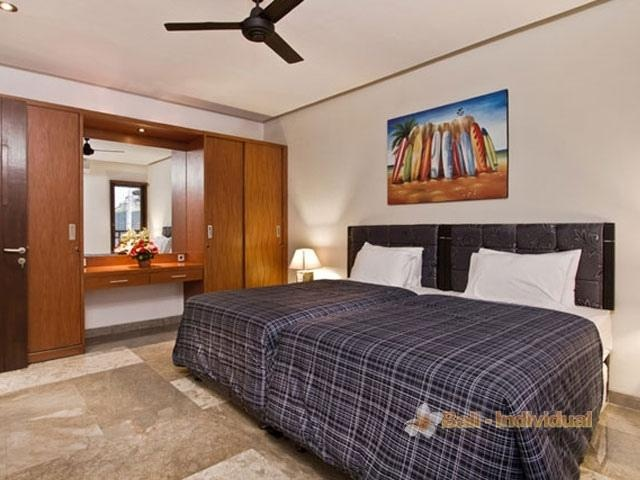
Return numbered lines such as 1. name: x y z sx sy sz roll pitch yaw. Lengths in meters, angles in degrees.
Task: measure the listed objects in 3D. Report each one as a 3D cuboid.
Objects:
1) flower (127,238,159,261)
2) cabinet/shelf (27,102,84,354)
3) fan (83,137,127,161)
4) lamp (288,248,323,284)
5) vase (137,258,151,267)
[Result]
1. flower: -2.103 0.122 5.201 0.262 0.237 0.271 0 -13 1
2. cabinet/shelf: -2.798 -0.078 4.532 0.200 2.640 0.754 3 3 13
3. fan: -2.593 -1.096 5.286 0.448 0.234 0.040 -2 4 -44
4. lamp: -0.152 0.302 5.588 0.393 0.451 0.400 4 5 38
5. vase: -2.094 0.269 5.225 0.107 0.069 0.109 1 -4 7
